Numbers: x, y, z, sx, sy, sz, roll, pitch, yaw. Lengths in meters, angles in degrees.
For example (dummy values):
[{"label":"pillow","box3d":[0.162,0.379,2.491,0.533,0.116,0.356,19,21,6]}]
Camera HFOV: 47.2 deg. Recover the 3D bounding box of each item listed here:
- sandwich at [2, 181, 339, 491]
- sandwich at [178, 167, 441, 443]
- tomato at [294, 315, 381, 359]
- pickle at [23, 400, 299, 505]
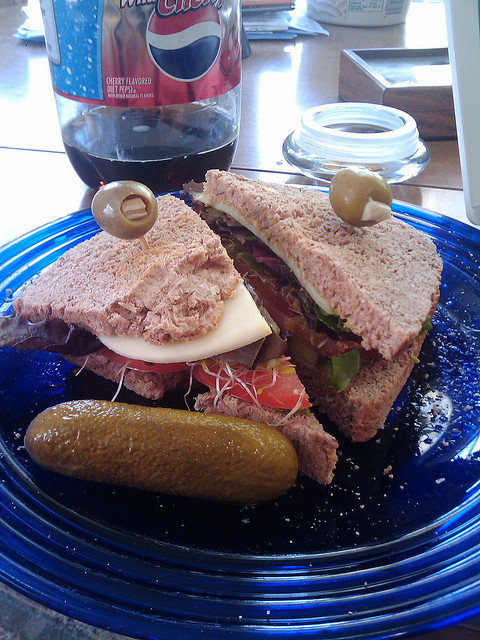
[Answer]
[{"label":"sandwich","box3d":[-0.139,0.037,0.963,0.627,0.208,0.409,41,46,20]},{"label":"sandwich","box3d":[0.233,-0.123,1.149,0.437,0.230,0.829,-7,35,-23]},{"label":"tomato","box3d":[0.170,0.037,0.968,0.111,0.037,0.085,2,35,-12]},{"label":"pickle","box3d":[-0.111,0.171,0.750,0.379,0.092,0.117,5,38,6]}]
